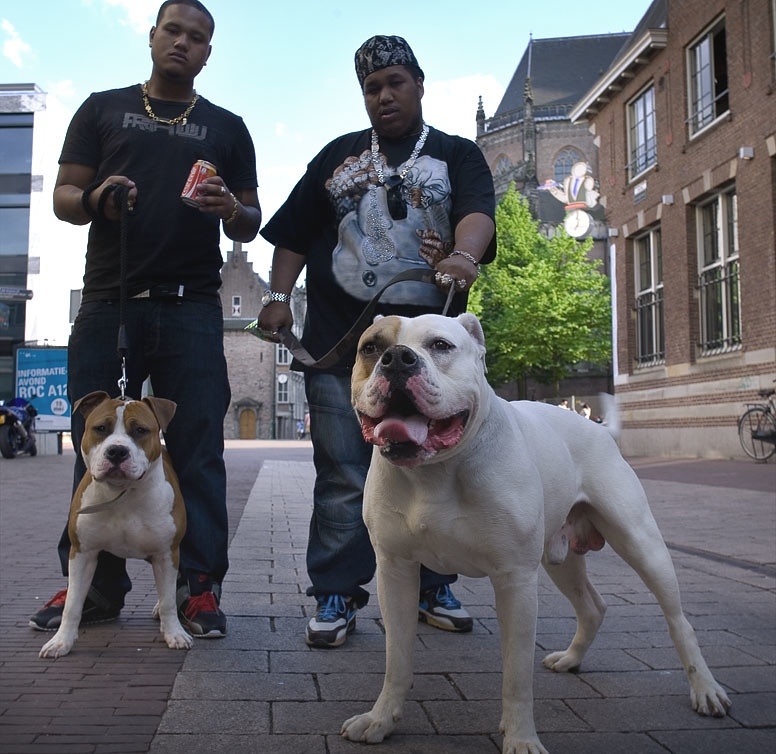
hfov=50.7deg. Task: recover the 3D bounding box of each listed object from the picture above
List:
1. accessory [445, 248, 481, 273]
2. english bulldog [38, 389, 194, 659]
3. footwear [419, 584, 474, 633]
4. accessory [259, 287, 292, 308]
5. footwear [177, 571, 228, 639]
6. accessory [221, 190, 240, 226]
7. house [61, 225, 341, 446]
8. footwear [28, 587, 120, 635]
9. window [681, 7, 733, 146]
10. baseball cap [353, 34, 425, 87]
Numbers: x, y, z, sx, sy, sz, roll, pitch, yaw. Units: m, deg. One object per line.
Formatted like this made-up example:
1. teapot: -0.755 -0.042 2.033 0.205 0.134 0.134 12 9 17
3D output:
1. accessory: 0.305 -0.458 3.315 0.111 0.027 0.090 31 20 -18
2. english bulldog: -1.172 0.605 3.542 0.608 0.971 0.512 -2 0 -15
3. footwear: 0.279 1.140 4.139 0.163 0.209 0.464 5 -2 -26
4. accessory: -0.563 -0.380 4.067 0.121 0.081 0.130 12 -17 -33
5. footwear: -0.853 1.046 3.749 0.140 0.175 0.387 2 -4 -24
6. accessory: -0.734 -0.809 3.889 0.106 0.138 0.054 18 34 24
7. house: -13.798 -3.374 74.723 9.588 16.607 17.609 9 3 -10
8. footwear: -1.474 1.075 3.822 0.420 0.189 0.160 11 -6 -37
9. window: 7.121 -6.641 18.225 0.459 2.621 1.397 -2 0 -2
10. baseball cap: 0.006 -1.465 3.768 0.312 0.208 0.169 -2 0 -1
